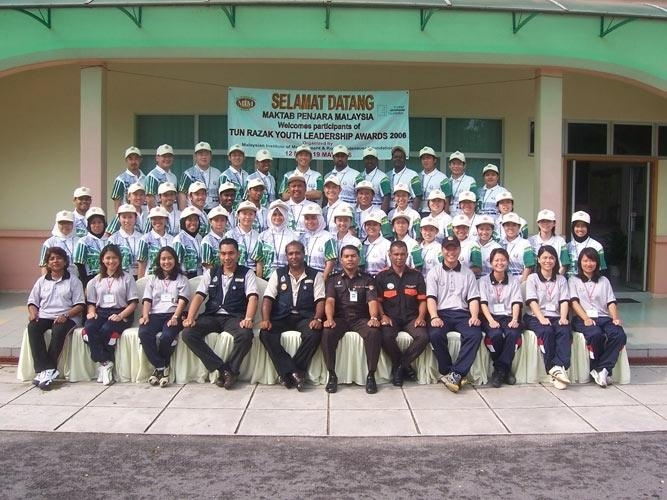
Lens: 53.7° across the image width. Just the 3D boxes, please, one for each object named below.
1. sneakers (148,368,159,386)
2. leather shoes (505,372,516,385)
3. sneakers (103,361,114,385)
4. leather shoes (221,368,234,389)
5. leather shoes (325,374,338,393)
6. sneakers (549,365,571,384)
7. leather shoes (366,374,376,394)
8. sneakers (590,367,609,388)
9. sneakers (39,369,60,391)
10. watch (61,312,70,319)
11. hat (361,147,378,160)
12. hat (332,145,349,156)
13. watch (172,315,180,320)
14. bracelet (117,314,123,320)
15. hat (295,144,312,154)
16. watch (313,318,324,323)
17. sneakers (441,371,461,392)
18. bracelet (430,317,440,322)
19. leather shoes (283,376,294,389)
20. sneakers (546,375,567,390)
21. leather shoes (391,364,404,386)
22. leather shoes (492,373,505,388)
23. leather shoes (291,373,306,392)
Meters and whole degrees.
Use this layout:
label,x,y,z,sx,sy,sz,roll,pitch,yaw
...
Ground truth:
label,x,y,z,sx,sy,sz,roll,pitch,yaw
sneakers,-1.963,1.392,7.230,0.111,0.152,0.090,-4,13,-16
leather shoes,1.995,1.418,7.363,0.097,0.107,0.169,11,17,41
sneakers,-2.479,1.357,7.308,0.082,0.261,0.100,-11,-19,22
leather shoes,-1.144,1.397,7.171,0.122,0.175,0.372,1,-12,-6
leather shoes,-0.015,1.428,7.154,0.127,0.147,0.247,0,13,0
sneakers,2.485,1.364,7.232,0.106,0.138,0.287,-3,-1,-24
leather shoes,0.421,1.432,7.118,0.129,0.153,0.215,1,13,3
sneakers,2.953,1.380,7.331,0.122,0.098,0.270,-34,41,0
sneakers,-3.118,1.397,7.218,0.150,0.162,0.326,-1,13,-4
watch,-3.013,0.733,7.416,0.069,0.048,0.061,8,-18,-38
hat,0.549,-1.408,9.692,0.204,0.158,0.345,1,-2,3
hat,0.103,-1.449,9.634,0.233,0.185,0.329,0,-2,-1
watch,-1.759,0.753,7.367,0.056,0.054,0.038,11,39,-8
bracelet,-2.402,0.756,7.432,0.041,0.063,0.016,5,-1,9
hat,-0.435,-1.455,9.533,0.250,0.144,0.351,3,1,-2
watch,-0.165,0.783,7.353,0.063,0.043,0.057,9,-23,-43
sneakers,1.283,1.417,7.152,0.117,0.133,0.295,42,-10,9
bracelet,1.146,0.764,7.376,0.096,0.034,0.130,3,14,10
leather shoes,-0.491,1.433,7.186,0.076,0.094,0.137,0,23,-7
sneakers,2.474,1.451,7.292,0.083,0.083,0.198,-15,12,-14
leather shoes,0.722,1.386,7.321,0.139,0.183,0.183,1,13,3
leather shoes,1.823,1.429,7.281,0.124,0.114,0.165,3,14,14
leather shoes,-0.352,1.426,7.174,0.148,0.166,0.202,-4,14,-17
